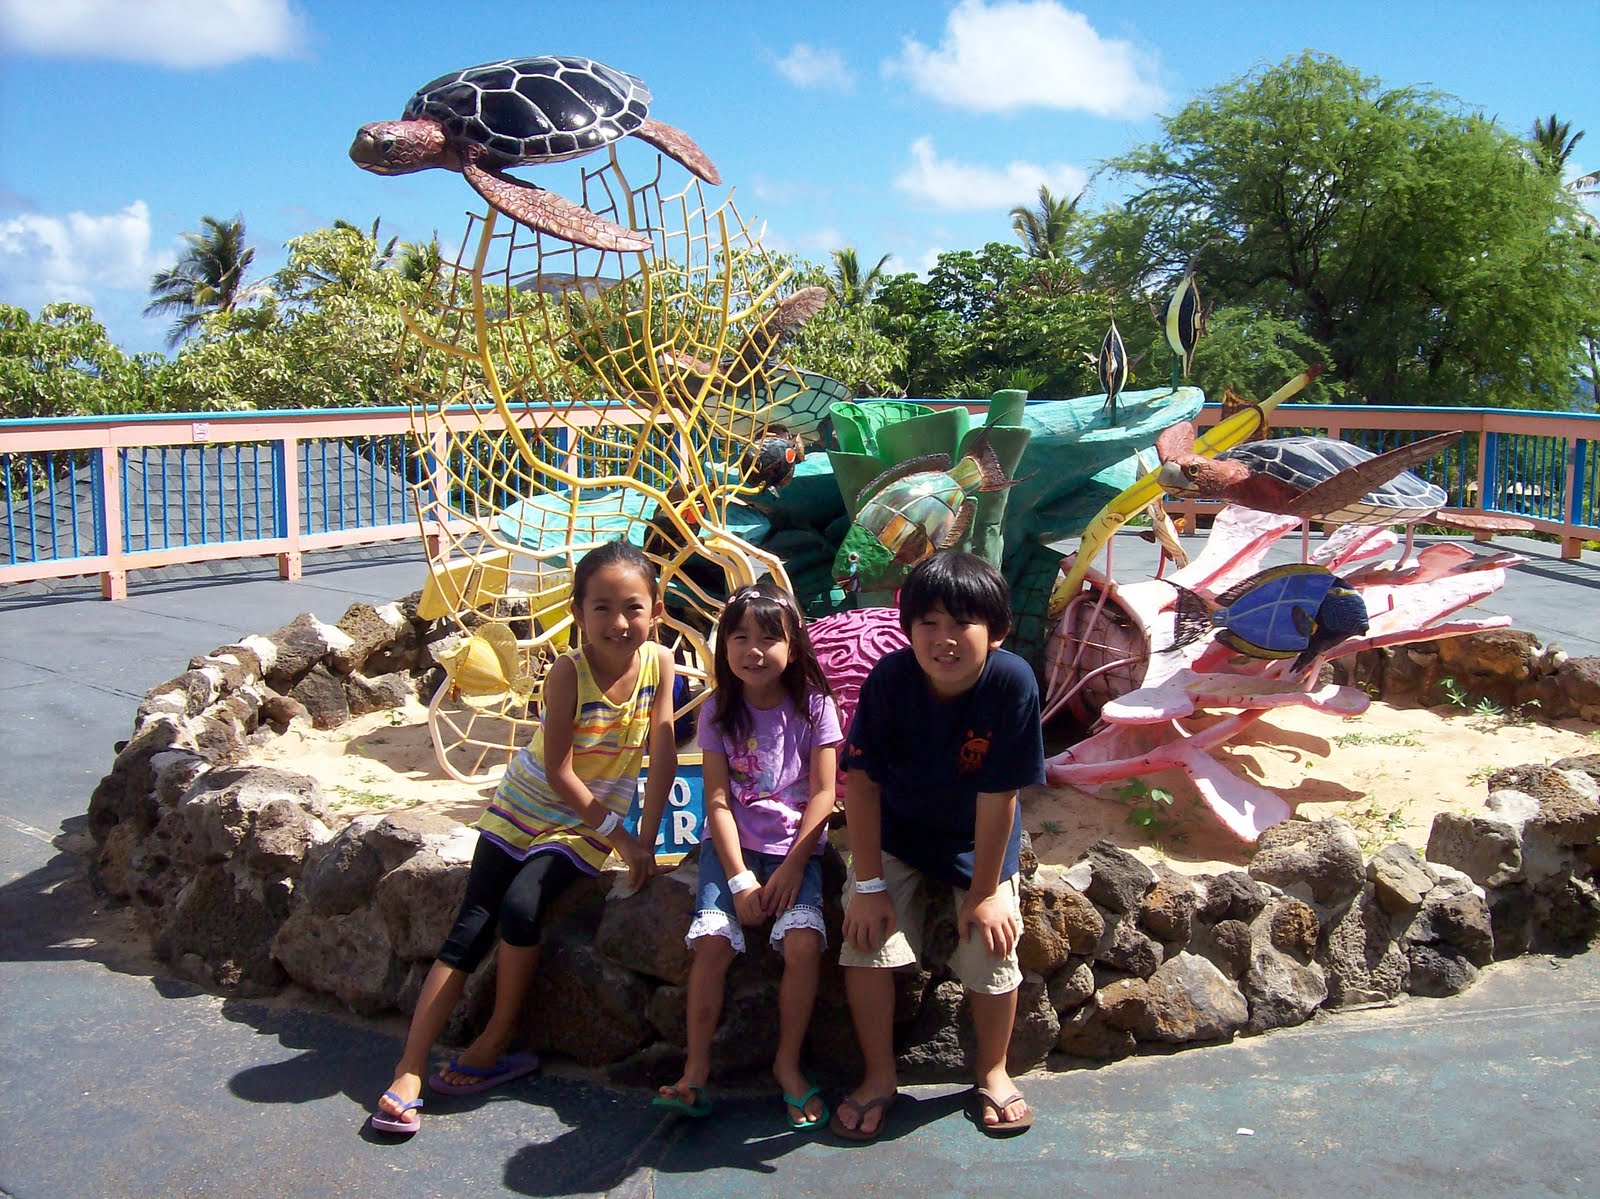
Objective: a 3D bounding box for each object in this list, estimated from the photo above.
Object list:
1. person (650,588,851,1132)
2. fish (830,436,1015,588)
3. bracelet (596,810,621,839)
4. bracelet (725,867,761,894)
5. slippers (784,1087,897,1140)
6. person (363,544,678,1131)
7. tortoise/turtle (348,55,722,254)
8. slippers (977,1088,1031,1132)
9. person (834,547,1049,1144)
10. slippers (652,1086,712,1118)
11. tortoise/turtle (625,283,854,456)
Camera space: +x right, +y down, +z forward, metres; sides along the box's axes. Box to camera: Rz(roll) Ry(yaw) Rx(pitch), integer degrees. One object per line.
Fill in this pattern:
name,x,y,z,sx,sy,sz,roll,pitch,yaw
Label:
person,-0.109,0.622,3.139,0.431,1.233,0.622,1,2,24
fish,0.416,-0.348,4.490,0.541,0.566,0.543,-4,13,-32
bracelet,-0.532,0.637,3.280,0.016,0.067,0.063,42,19,-20
bracelet,-0.143,0.749,3.097,0.065,0.044,0.066,-8,4,31
slippers,0.094,1.294,2.959,0.275,0.078,0.168,3,14,11
person,-0.725,0.586,3.180,0.348,1.368,0.987,14,20,43
tortoise/turtle,-0.890,-1.354,3.538,0.855,0.589,0.441,-1,14,-4
slippers,0.518,1.292,2.945,0.140,0.074,0.115,3,14,10
person,0.362,0.631,3.112,0.567,1.433,0.501,0,1,3
slippers,-0.290,1.271,2.942,0.127,0.041,0.071,6,-5,25
tortoise/turtle,-0.129,-1.035,5.250,0.778,0.702,0.871,-10,14,-37
